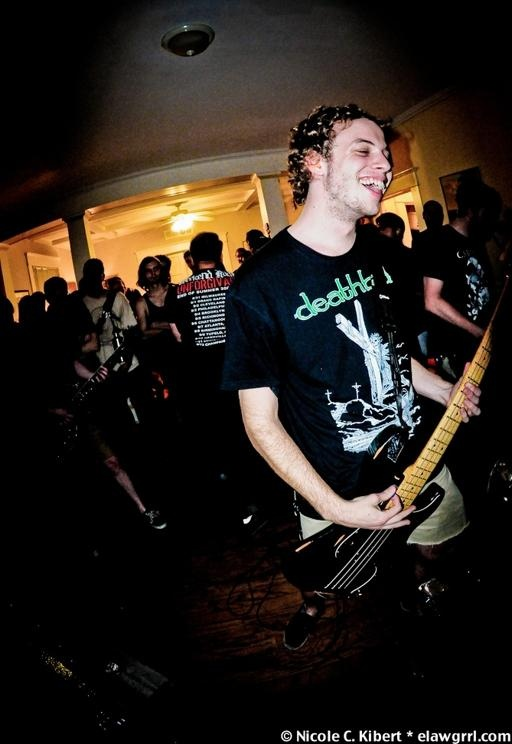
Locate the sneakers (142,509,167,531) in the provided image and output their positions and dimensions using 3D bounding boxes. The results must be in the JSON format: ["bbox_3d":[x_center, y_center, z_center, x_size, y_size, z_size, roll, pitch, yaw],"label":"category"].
[{"bbox_3d":[-0.660,0.956,3.686,0.106,0.146,0.035,-52,-5,-11],"label":"sneakers"}]

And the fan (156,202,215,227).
[{"bbox_3d":[-1.480,-2.960,11.099,0.606,0.286,0.650,-1,-2,8],"label":"fan"}]
